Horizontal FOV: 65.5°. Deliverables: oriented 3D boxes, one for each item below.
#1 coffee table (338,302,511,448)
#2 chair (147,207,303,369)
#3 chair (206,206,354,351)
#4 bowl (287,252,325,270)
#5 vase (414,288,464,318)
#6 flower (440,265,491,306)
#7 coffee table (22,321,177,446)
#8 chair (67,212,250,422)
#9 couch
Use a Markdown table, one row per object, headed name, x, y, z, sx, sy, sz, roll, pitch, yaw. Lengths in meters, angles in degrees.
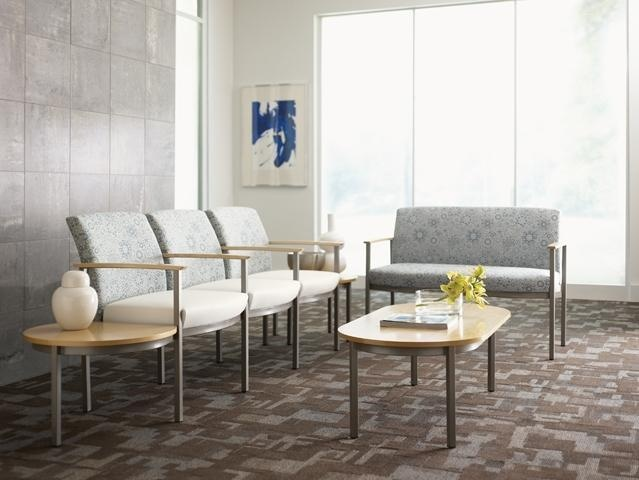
| name | x | y | z | sx | sy | sz | roll | pitch | yaw |
| --- | --- | --- | --- | --- | --- | --- | --- | --- | --- |
| coffee table | 0.515 | 0.629 | 2.444 | 0.670 | 0.495 | 0.809 | 0 | 3 | 25 |
| chair | -0.610 | 0.306 | 3.358 | 0.894 | 0.947 | 0.709 | 7 | 9 | 31 |
| chair | -0.453 | 0.249 | 3.775 | 0.620 | 0.752 | 0.751 | -19 | 31 | -32 |
| bowl | -0.098 | 0.172 | 4.017 | 0.205 | 0.115 | 0.179 | -1 | -2 | 7 |
| vase | 0.587 | 0.322 | 2.508 | 0.242 | 0.106 | 0.142 | 0 | -4 | 2 |
| flower | 0.836 | 0.238 | 2.649 | 0.229 | 0.166 | 0.264 | -4 | 13 | -16 |
| coffee table | -1.009 | 0.691 | 2.373 | 0.621 | 0.342 | 0.576 | 0 | -2 | 7 |
| chair | -0.923 | 0.360 | 2.850 | 0.913 | 0.976 | 0.780 | 3 | 2 | 22 |
| couch | 1.169 | 0.253 | 4.098 | 1.495 | 0.922 | 0.662 | 1 | 8 | 32 |
